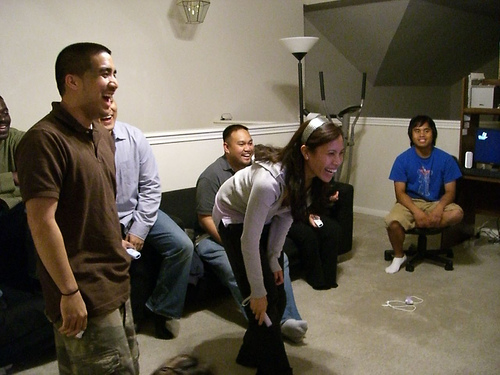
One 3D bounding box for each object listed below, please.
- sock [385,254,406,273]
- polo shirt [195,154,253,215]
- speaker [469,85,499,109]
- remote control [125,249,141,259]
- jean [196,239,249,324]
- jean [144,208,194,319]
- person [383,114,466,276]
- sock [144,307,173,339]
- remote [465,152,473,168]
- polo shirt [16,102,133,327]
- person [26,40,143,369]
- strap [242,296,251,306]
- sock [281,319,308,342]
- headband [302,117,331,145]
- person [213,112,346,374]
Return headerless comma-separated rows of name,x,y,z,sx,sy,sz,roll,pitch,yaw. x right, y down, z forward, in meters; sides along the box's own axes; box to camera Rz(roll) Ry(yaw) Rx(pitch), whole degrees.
sock,1.331,0.703,3.458,0.232,0.077,0.082,-28,15,-40
polo shirt,-0.172,-0.014,2.477,0.198,0.368,0.384,9,24,37
speaker,2.341,-0.891,3.774,0.233,0.262,0.232,2,1,36
remote control,-0.608,0.336,1.971,0.085,0.023,0.050,31,31,29
jean,-0.213,0.551,2.705,0.163,0.552,0.552,-26,18,-5
jean,-0.603,0.536,2.665,0.352,0.647,0.304,10,18,38
person,1.610,0.032,3.578,0.771,1.341,0.517,-4,14,-13
sock,-0.647,0.942,2.653,0.058,0.129,0.183,-15,60,-30
remote,2.277,-0.277,3.912,0.071,0.156,0.063,3,14,16
polo shirt,-0.733,0.097,1.673,0.310,0.867,0.555,-3,6,11
person,-0.724,0.153,1.620,0.393,1.463,0.425,-7,14,-22
strap,-0.020,0.577,1.933,0.053,0.013,0.029,-46,23,-15
sock,0.298,0.924,2.535,0.168,0.076,0.111,8,20,41
headband,0.315,-0.266,1.801,0.137,0.119,0.070,-10,17,-31
person,0.132,0.393,2.028,0.657,1.513,0.443,-1,13,0
